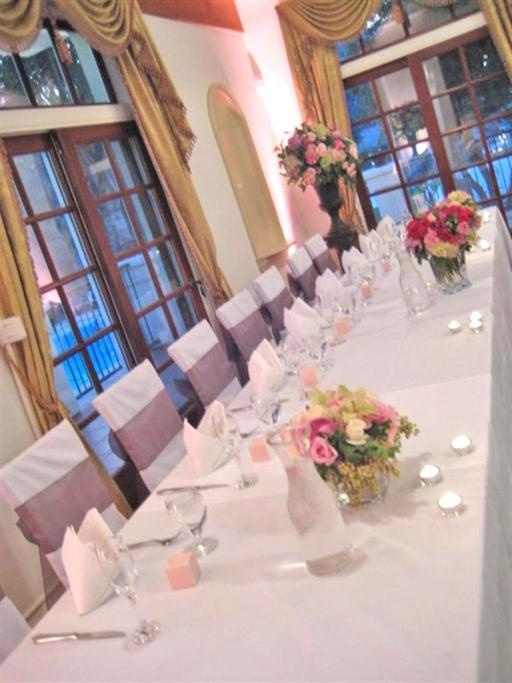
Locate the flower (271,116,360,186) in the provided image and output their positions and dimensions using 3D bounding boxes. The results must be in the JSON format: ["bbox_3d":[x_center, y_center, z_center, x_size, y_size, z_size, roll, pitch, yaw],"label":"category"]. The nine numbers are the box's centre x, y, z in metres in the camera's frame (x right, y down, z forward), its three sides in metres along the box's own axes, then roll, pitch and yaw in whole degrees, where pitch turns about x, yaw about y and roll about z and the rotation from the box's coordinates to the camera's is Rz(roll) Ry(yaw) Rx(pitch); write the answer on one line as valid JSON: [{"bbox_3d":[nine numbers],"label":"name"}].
[{"bbox_3d":[0.626,-1.823,5.028,0.706,0.544,0.693,8,29,-4],"label":"flower"}]

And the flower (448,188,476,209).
[{"bbox_3d":[1.000,-0.694,2.444,0.166,0.065,0.174,-6,23,-9],"label":"flower"}]

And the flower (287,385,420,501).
[{"bbox_3d":[0.215,0.220,1.008,0.192,0.178,0.199,-1,-8,15],"label":"flower"}]

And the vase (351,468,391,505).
[{"bbox_3d":[0.227,0.281,1.001,0.081,0.056,0.082,-4,21,13],"label":"vase"}]

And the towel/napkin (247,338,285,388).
[{"bbox_3d":[0.038,0.087,1.991,0.129,0.124,0.197,-2,25,-7],"label":"towel/napkin"}]

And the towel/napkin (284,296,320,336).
[{"bbox_3d":[0.219,-0.092,2.368,0.145,0.117,0.231,43,6,21],"label":"towel/napkin"}]
